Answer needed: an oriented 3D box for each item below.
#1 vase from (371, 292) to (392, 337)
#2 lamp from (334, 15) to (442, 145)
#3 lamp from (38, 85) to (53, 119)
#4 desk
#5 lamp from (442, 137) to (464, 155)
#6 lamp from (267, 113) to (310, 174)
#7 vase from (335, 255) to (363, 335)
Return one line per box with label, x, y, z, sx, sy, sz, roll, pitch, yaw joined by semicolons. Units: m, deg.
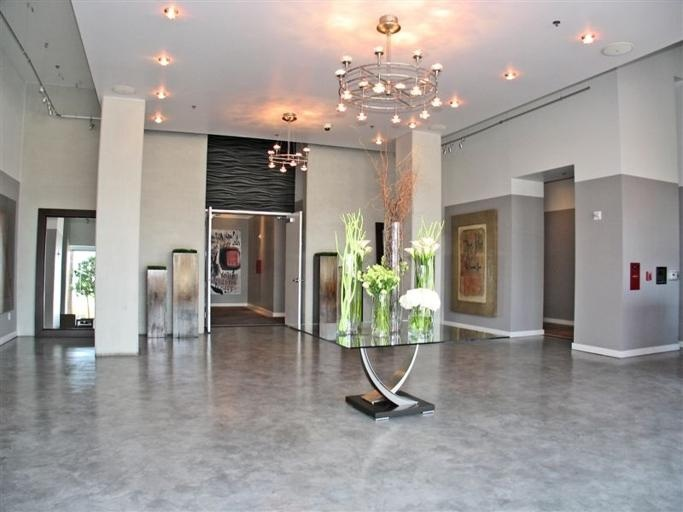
vase;0.408;0.570;4.821;0.185;0.446;0.323;1;3;5
lamp;0.672;-2.841;7.033;1.547;1.457;1.547;2;2;23
lamp;-5.636;-2.960;8.981;0.143;0.590;0.155;-16;11;22
desk;0.727;1.199;5.477;1.342;0.954;2.410;1;2;10
lamp;2.497;-2.516;10.844;0.277;0.286;0.644;-1;3;-24
lamp;-1.170;-2.534;10.507;0.958;1.232;0.952;-1;8;-14
vase;0.077;0.377;4.846;0.248;0.818;0.278;1;3;0
